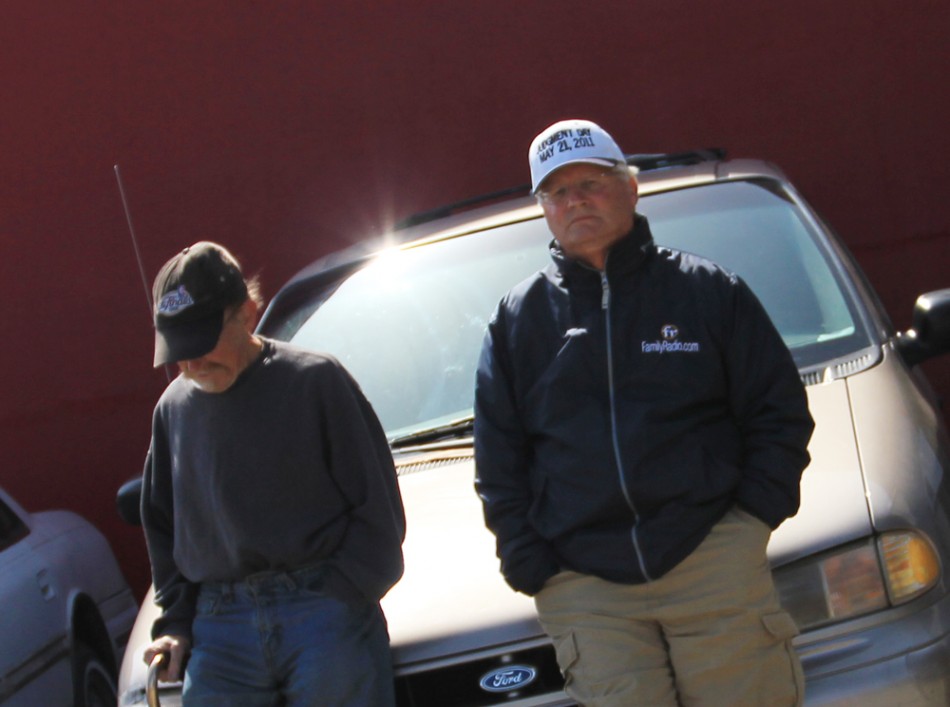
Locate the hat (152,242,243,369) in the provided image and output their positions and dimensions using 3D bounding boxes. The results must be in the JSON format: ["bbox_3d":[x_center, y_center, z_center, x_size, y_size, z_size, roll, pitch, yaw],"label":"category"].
[{"bbox_3d":[-0.949,-0.181,3.181,0.247,0.258,0.439,-2,40,27],"label":"hat"}]
